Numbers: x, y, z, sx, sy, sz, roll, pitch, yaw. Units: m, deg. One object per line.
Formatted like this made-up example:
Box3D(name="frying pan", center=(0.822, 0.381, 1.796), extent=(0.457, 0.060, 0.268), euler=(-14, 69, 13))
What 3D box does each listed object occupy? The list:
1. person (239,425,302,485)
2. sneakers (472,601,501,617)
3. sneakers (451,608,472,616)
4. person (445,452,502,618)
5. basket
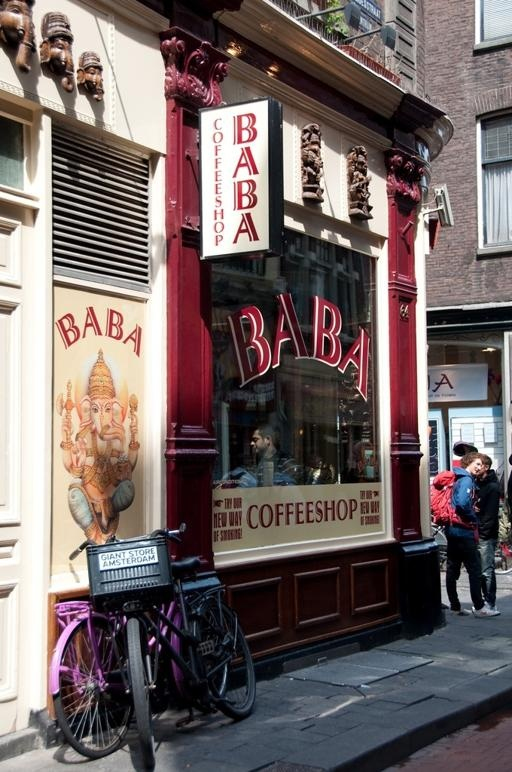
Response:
Box3D(name="person", center=(0.096, 0.550, 7.033), extent=(0.129, 0.452, 0.738), euler=(0, -5, 24))
Box3D(name="sneakers", center=(2.446, 2.394, 9.623), extent=(0.293, 0.145, 0.111), euler=(-7, -9, 29))
Box3D(name="sneakers", center=(2.209, 2.420, 9.677), extent=(0.187, 0.090, 0.079), euler=(-3, 1, 7))
Box3D(name="person", center=(2.332, 1.589, 9.740), extent=(0.548, 1.741, 0.785), euler=(2, -5, 7))
Box3D(name="basket", center=(-0.646, 0.930, 4.608), extent=(0.458, 0.336, 0.278), euler=(-3, -9, -30))
